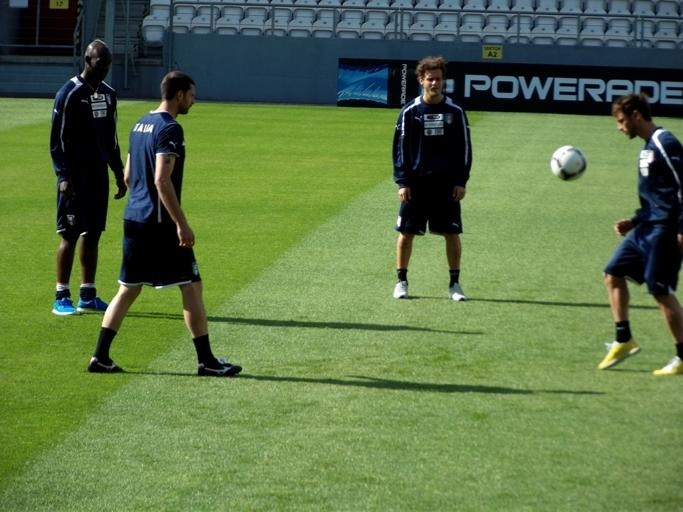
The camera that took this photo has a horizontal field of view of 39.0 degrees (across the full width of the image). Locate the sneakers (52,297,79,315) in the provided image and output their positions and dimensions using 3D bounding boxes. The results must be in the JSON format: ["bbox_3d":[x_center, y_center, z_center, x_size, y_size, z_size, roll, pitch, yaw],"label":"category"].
[{"bbox_3d":[-2.386,0.449,8.402,0.115,0.111,0.244,0,-1,-41],"label":"sneakers"}]

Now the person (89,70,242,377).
[{"bbox_3d":[-1.302,-0.230,7.060,1.107,2.147,0.726,0,13,-5],"label":"person"}]

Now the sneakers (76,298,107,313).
[{"bbox_3d":[-2.162,0.442,8.524,0.301,0.137,0.111,1,16,-12],"label":"sneakers"}]

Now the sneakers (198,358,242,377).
[{"bbox_3d":[-0.883,0.832,7.114,0.338,0.152,0.127,-3,5,-11],"label":"sneakers"}]

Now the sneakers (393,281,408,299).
[{"bbox_3d":[0.559,0.317,9.146,0.132,0.146,0.213,2,14,3],"label":"sneakers"}]

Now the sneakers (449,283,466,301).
[{"bbox_3d":[1.078,0.363,9.011,0.079,0.103,0.230,-1,1,-6],"label":"sneakers"}]

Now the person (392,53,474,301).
[{"bbox_3d":[0.847,-0.783,9.127,0.708,2.090,0.445,0,13,-2],"label":"person"}]

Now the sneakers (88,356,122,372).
[{"bbox_3d":[-1.716,0.793,7.090,0.196,0.088,0.111,1,3,-18],"label":"sneakers"}]

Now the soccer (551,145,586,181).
[{"bbox_3d":[2.240,-0.895,9.598,0.315,0.355,0.248,7,15,22],"label":"soccer"}]
